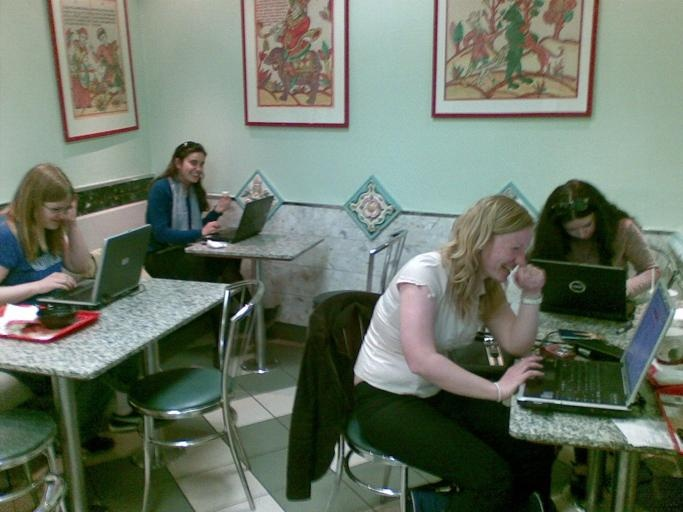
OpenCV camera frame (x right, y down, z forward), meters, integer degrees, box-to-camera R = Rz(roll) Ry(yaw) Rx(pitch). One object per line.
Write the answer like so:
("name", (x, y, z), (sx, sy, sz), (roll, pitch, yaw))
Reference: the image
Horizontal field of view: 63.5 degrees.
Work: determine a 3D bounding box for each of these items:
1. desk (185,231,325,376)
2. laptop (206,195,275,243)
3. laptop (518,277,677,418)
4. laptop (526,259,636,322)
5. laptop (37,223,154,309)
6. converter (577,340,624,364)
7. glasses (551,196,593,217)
("desk", (-0.481, 0.300, 4.012), (1.023, 0.997, 0.916), (5, 15, 19))
("laptop", (-0.743, -0.261, 3.892), (0.377, 0.256, 0.423), (5, 20, 20))
("laptop", (0.865, 0.323, 1.852), (0.425, 0.311, 0.483), (0, 6, 27))
("laptop", (1.043, 0.155, 2.357), (0.409, 0.281, 0.287), (7, 27, 28))
("laptop", (-1.230, 0.048, 2.727), (0.404, 0.365, 0.490), (11, 13, 11))
("converter", (0.984, 0.362, 2.083), (0.085, 0.020, 0.088), (-6, 12, -30))
("glasses", (1.167, -0.243, 2.779), (0.123, 0.049, 0.130), (-10, -24, 29))
